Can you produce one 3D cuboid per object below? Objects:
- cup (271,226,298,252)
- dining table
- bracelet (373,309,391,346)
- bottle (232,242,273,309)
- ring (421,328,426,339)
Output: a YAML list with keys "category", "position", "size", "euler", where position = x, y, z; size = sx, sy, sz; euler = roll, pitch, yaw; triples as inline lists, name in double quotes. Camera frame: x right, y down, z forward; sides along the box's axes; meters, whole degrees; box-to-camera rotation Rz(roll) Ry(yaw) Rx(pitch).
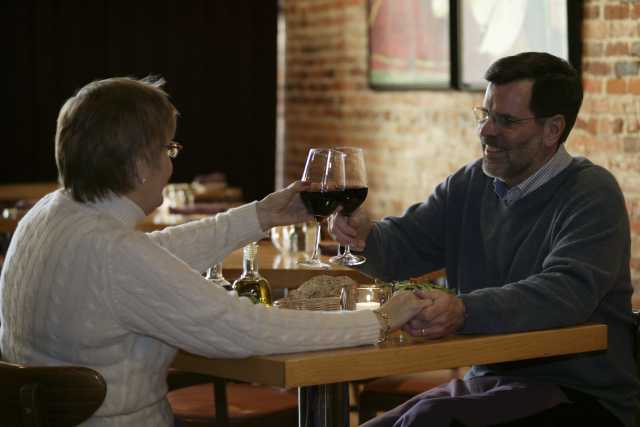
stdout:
- category: "cup"
  position: [-0.175, 0.126, 3.496]
  size: [0.115, 0.097, 0.132]
  euler: [0, -4, 0]
- category: "dining table"
  position: [-0.127, 0.289, 2.051]
  size: [1.675, 0.701, 0.305]
  euler: [-1, 7, 2]
- category: "bracelet"
  position: [0.186, 0.325, 2.076]
  size: [0.023, 0.076, 0.068]
  euler: [3, -31, -8]
- category: "bottle"
  position: [-0.226, 0.235, 2.383]
  size: [0.112, 0.291, 0.113]
  euler: [0, 1, 0]
- category: "ring"
  position: [0.305, 0.351, 2.128]
  size: [0.023, 0.031, 0.012]
  euler: [-1, -6, -16]
